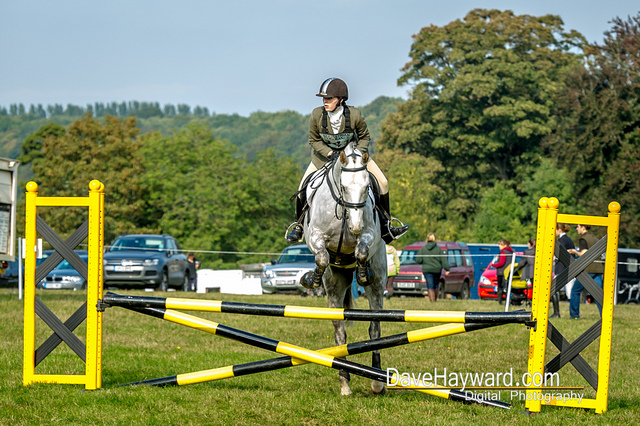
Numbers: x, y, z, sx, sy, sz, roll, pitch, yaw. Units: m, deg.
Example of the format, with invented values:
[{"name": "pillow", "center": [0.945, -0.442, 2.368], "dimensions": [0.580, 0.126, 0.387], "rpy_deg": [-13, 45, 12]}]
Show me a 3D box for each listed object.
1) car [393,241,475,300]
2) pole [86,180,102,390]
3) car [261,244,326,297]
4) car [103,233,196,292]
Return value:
[{"name": "car", "center": [5.503, 3.075, 72.652], "dimensions": [3.366, 3.305, 5.610], "rpy_deg": [-1, -3, 30]}, {"name": "pole", "center": [-8.823, 2.736, 55.176], "dimensions": [0.557, 8.426, 0.589], "rpy_deg": [0, 5, -17]}, {"name": "car", "center": [-0.929, 2.879, 70.965], "dimensions": [2.754, 2.730, 5.303], "rpy_deg": [-2, -2, 20]}, {"name": "car", "center": [-8.691, 2.493, 69.751], "dimensions": [3.438, 3.098, 6.379], "rpy_deg": [1, -3, 10]}]
